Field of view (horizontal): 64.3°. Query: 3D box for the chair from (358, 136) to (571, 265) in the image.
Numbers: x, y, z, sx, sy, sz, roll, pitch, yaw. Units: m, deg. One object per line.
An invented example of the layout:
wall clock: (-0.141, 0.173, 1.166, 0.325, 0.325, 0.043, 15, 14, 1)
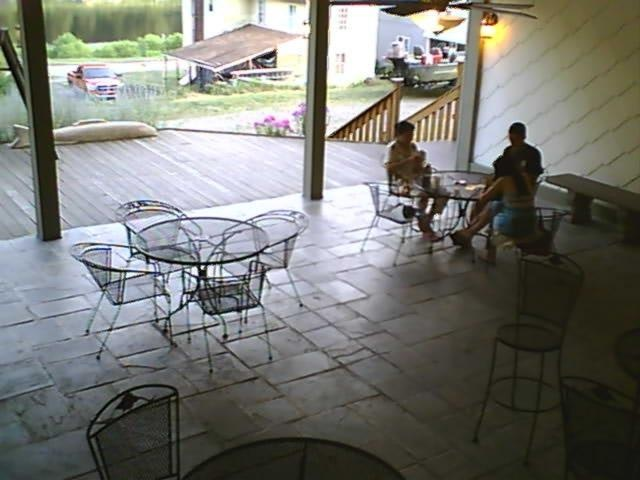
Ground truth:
chair: (1.686, -0.367, 5.973, 1.816, 0.678, 1.606, 11, 26, 17)

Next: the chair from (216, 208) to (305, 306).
chair: (-0.579, 0.208, 5.018, 0.766, 0.831, 0.723, -11, 37, -28)

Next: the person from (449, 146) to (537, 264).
person: (2.100, -0.363, 5.873, 0.830, 1.303, 0.877, -2, 26, -8)

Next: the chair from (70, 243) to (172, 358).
chair: (-1.709, 0.461, 4.631, 0.819, 0.756, 0.674, -3, 24, -20)

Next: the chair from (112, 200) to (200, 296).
chair: (-1.638, 0.111, 5.026, 0.748, 0.896, 0.822, 30, 41, 34)
